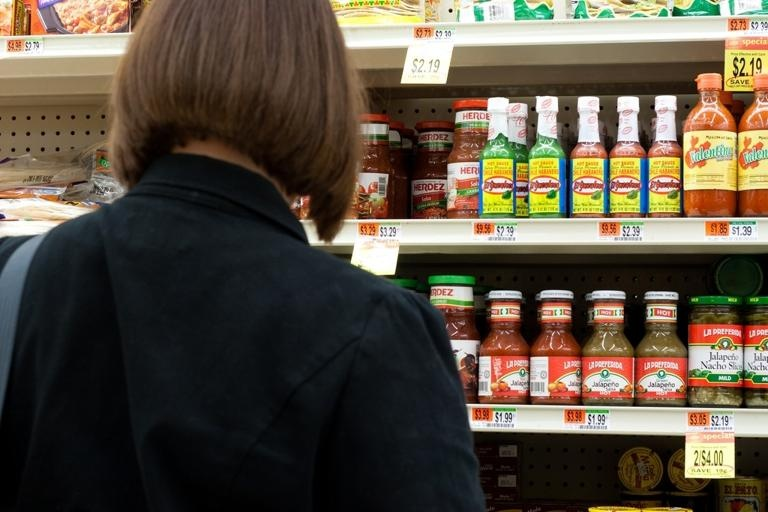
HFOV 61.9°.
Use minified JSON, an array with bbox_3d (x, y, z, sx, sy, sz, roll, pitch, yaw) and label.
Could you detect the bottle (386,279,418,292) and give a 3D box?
[{"bbox_3d":[0.060,0.077,1.864,0.096,0.029,0.087,2,1,8],"label":"bottle"}]
